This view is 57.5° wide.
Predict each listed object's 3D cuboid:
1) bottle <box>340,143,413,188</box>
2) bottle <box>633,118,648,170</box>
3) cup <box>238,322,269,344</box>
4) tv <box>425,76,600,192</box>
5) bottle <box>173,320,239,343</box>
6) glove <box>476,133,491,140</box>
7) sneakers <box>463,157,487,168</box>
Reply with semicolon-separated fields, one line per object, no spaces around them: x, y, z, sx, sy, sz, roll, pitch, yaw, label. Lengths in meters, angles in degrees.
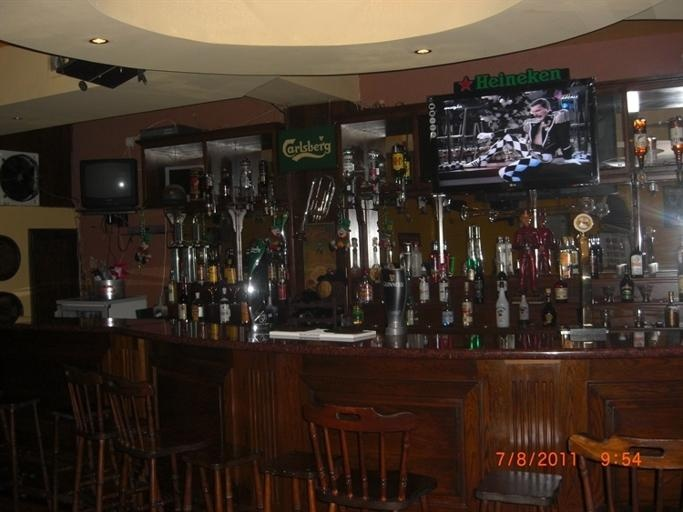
0.345;-0.864;6.205;0.491;0.334;0.147;3;6;31;bottle
2.625;-0.958;5.426;0.122;0.442;0.281;-1;1;26;bottle
-0.608;0.552;4.420;0.126;0.124;0.135;2;0;0;cup
1.556;-1.044;5.434;1.009;0.621;0.107;-3;4;20;tv
-1.005;0.561;4.660;0.481;0.029;1.280;-1;1;-17;bottle
1.284;-1.045;5.534;0.091;0.058;0.034;-6;-11;28;glove
1.208;-0.812;5.580;0.195;0.084;0.066;2;5;8;sneakers
